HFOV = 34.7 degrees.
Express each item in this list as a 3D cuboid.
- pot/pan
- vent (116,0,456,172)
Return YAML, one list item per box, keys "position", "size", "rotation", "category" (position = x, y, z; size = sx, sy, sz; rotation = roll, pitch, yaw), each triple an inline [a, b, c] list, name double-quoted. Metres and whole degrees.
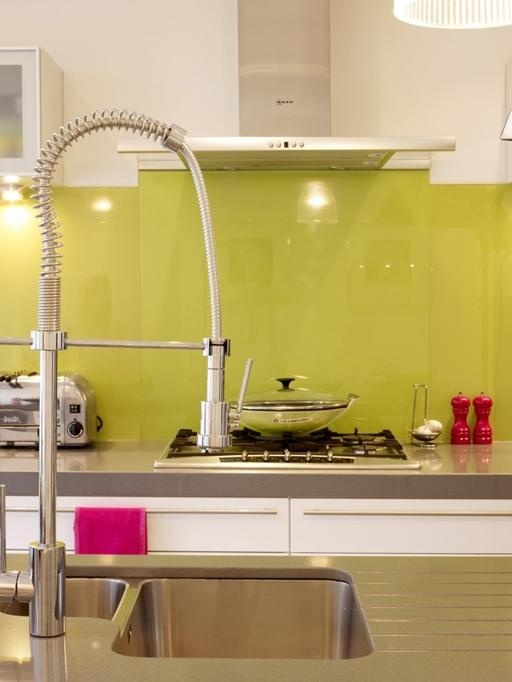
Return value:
- position: [0.105, 0.215, 2.742]
  size: [0.437, 0.171, 0.422]
  rotation: [-3, 3, -33]
  category: "pot/pan"
- position: [0.102, -0.825, 2.650]
  size: [1.028, 0.486, 0.435]
  rotation: [0, 3, 2]
  category: "vent"
